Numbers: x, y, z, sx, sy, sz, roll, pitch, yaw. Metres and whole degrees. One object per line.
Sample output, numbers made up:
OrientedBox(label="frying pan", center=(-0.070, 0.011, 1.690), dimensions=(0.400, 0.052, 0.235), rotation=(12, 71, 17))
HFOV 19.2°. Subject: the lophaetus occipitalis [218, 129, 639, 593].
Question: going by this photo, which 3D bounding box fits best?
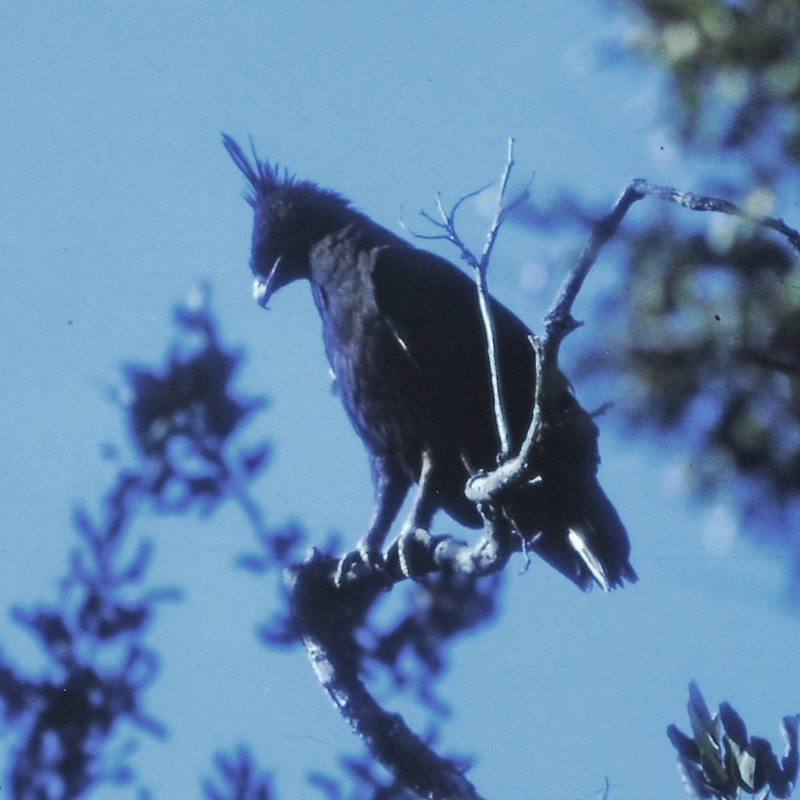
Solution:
OrientedBox(label="lophaetus occipitalis", center=(0.043, -0.096, 4.927), dimensions=(0.883, 0.975, 0.426), rotation=(4, -20, -14))
